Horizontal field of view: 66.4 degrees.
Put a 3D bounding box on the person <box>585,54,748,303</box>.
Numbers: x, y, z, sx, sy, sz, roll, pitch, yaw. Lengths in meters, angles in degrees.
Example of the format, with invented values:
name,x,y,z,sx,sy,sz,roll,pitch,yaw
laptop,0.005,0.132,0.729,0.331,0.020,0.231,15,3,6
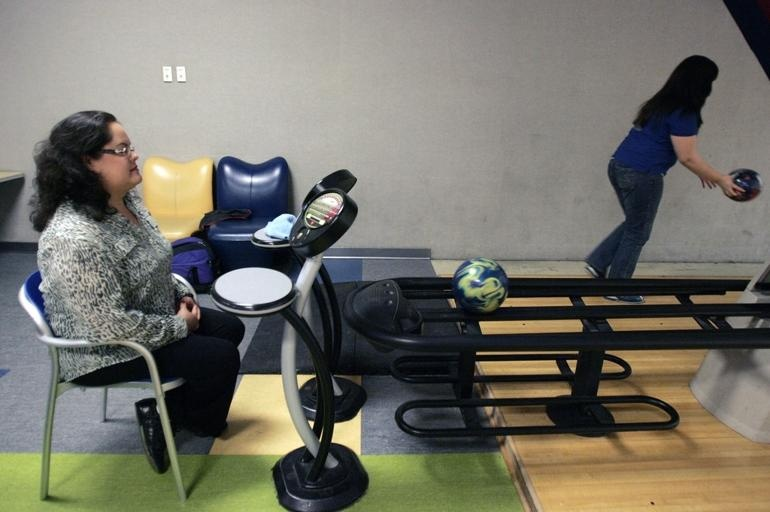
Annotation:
name,x,y,z,sx,sy,sz,roll,pitch,yaw
person,2.118,-0.507,4.543,0.849,1.981,0.666,19,31,27

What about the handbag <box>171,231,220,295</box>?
name,x,y,z,sx,sy,sz,roll,pitch,yaw
handbag,-1.647,0.057,5.020,0.468,0.426,0.327,-5,32,-4

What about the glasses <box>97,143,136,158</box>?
name,x,y,z,sx,sy,sz,roll,pitch,yaw
glasses,-1.349,-0.540,2.990,0.064,0.064,0.176,20,30,31

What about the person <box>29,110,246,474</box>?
name,x,y,z,sx,sy,sz,roll,pitch,yaw
person,-1.323,0.209,3.130,1.074,1.827,0.701,11,28,14

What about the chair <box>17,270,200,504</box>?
name,x,y,z,sx,sy,sz,roll,pitch,yaw
chair,-1.312,0.641,3.672,1.178,1.384,1.239,1,8,-7
